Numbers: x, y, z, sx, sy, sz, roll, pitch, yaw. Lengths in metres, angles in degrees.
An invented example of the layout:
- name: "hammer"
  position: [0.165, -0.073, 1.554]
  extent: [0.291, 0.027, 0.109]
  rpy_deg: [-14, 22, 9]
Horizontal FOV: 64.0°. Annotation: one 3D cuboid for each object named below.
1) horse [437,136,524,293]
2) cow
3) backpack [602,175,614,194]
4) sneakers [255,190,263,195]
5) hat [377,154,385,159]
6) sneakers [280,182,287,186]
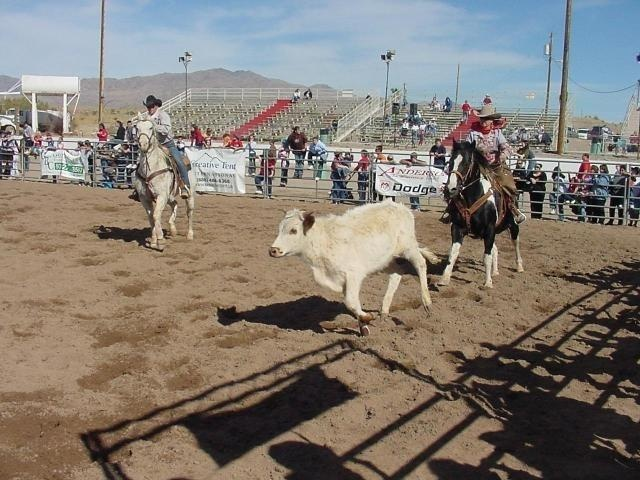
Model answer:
- name: "horse"
  position: [2.734, -0.428, 8.646]
  extent: [1.076, 2.396, 2.276]
  rpy_deg: [8, 13, 30]
- name: "cow"
  position: [0.434, 0.369, 6.581]
  extent: [2.146, 1.650, 0.813]
  rpy_deg: [-8, 15, -37]
- name: "backpack"
  position: [8.364, -1.545, 15.049]
  extent: [0.212, 0.599, 0.730]
  rpy_deg: [8, 13, 29]
- name: "sneakers"
  position: [-2.128, -1.646, 18.139]
  extent: [0.216, 0.137, 0.590]
  rpy_deg: [-1, 11, -11]
- name: "hat"
  position: [1.950, -2.638, 16.327]
  extent: [0.219, 0.194, 0.232]
  rpy_deg: [2, 11, 4]
- name: "sneakers"
  position: [-1.292, -1.991, 18.608]
  extent: [0.180, 0.098, 0.273]
  rpy_deg: [-1, 5, -4]
